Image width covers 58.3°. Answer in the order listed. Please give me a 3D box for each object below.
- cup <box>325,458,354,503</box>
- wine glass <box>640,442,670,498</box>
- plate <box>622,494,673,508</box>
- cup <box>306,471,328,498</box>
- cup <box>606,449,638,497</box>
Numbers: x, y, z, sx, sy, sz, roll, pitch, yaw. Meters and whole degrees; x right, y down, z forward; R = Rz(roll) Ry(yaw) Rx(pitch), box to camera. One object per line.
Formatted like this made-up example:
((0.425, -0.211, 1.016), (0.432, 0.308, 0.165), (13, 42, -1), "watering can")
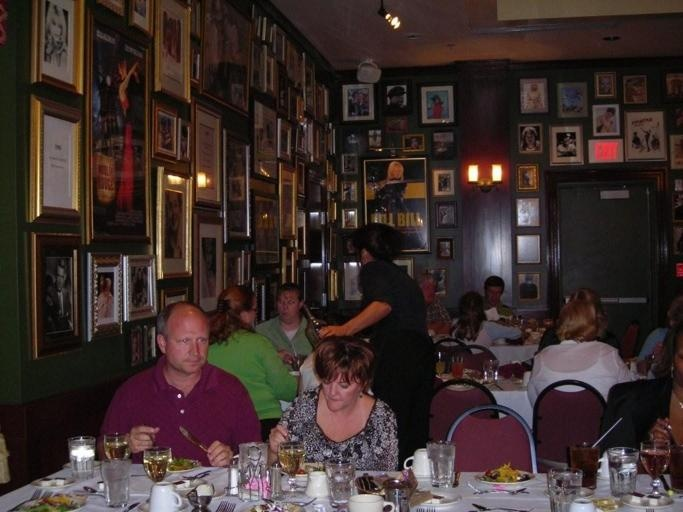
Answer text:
((-0.005, 0.833, 2.263), (0.123, 0.161, 0.131), (0, -12, 0), "cup")
((1.242, 0.823, 2.421), (0.098, 0.227, 0.280), (-2, -1, 27), "wine glass")
((1.119, 0.905, 2.239), (0.173, 0.025, 0.117), (-2, -1, 23), "plate")
((-0.094, 0.884, 2.356), (0.078, 0.074, 0.084), (1, -13, 0), "cup")
((1.103, 0.844, 2.397), (0.104, 0.200, 0.212), (-2, -1, 23), "cup")
